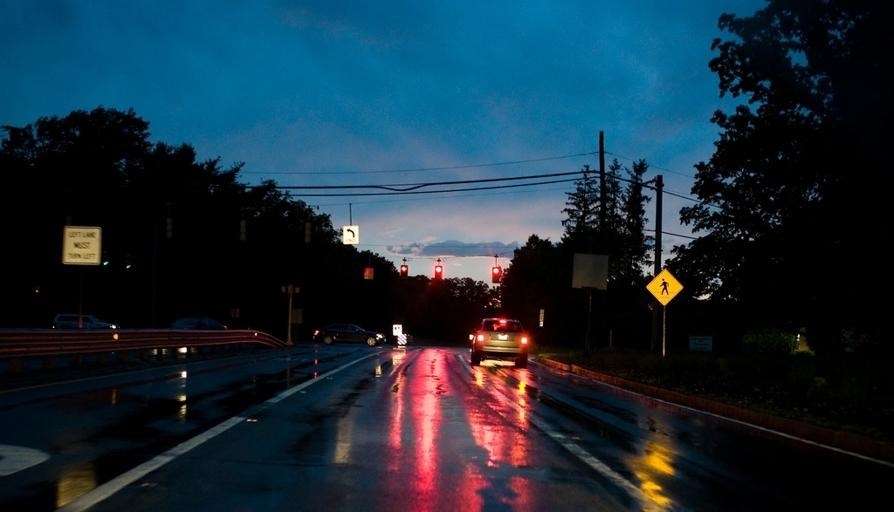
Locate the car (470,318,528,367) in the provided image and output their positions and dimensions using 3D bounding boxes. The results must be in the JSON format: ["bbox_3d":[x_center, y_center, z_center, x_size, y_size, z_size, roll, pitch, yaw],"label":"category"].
[{"bbox_3d":[2.839,4.673,38.322,2.866,2.659,1.275,0,-8,-6],"label":"car"}]

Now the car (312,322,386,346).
[{"bbox_3d":[-9.247,7.364,66.474,6.256,1.763,2.542,0,-4,-3],"label":"car"}]

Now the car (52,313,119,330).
[{"bbox_3d":[-27.205,4.943,53.451,3.695,1.440,1.764,2,-4,-8],"label":"car"}]
